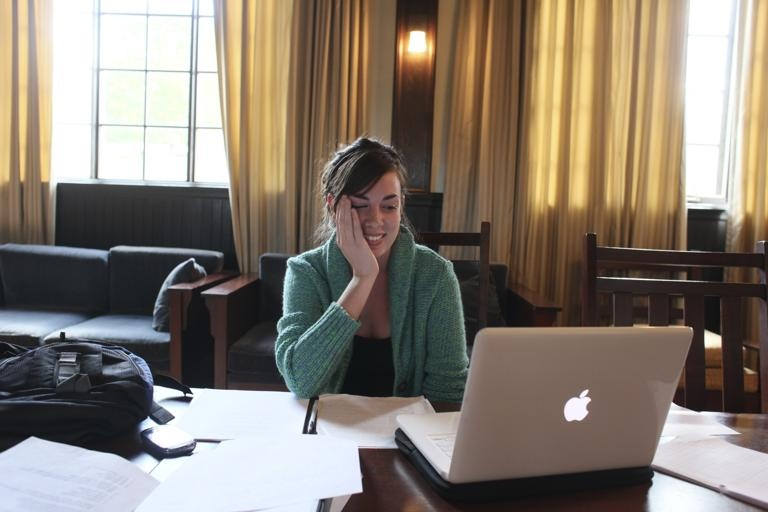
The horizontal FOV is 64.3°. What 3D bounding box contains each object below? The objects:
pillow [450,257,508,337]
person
[{"bbox_3d":[0.527,0.219,3.509,0.342,0.528,0.398,-1,13,2],"label":"pillow"},{"bbox_3d":[-0.047,0.123,2.352,0.684,1.040,0.685,-4,12,-8],"label":"person"}]
